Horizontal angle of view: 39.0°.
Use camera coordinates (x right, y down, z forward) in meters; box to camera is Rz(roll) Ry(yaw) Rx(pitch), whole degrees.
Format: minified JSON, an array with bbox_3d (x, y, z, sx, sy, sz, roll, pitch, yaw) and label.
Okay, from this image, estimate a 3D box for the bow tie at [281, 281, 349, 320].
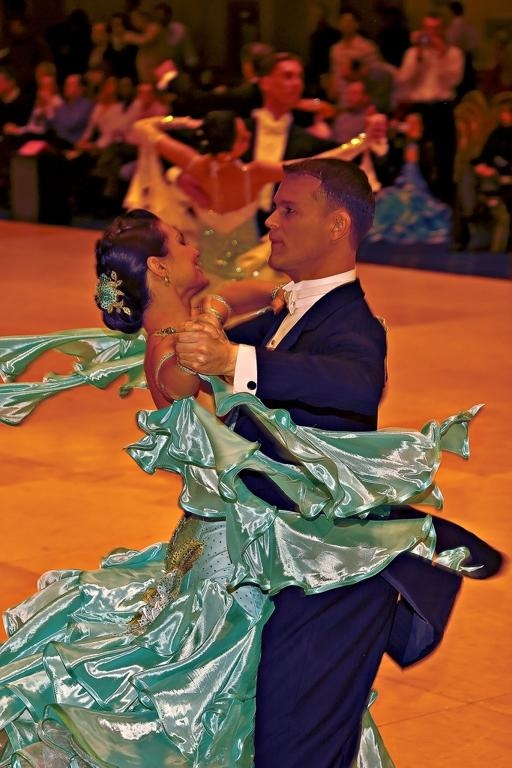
[{"bbox_3d":[0.096,-0.155,1.315,0.115,0.064,0.115,6,20,18],"label":"bow tie"}]
